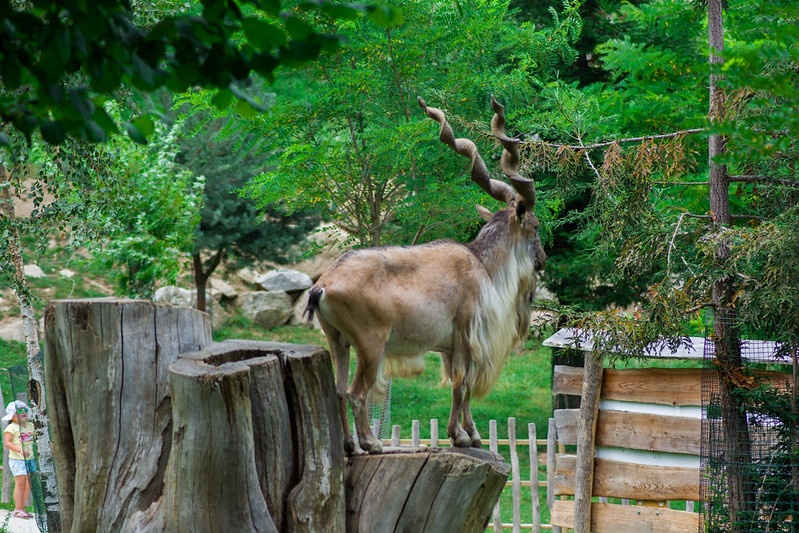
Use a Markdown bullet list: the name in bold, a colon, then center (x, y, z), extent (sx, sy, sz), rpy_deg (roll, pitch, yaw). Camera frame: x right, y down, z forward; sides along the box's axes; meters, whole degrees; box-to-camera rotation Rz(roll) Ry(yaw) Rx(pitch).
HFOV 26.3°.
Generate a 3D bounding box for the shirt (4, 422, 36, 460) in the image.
- **shirt**: center (-5.885, 2.742, 26.701), extent (0.581, 0.581, 0.348), rpy_deg (10, -18, -44)

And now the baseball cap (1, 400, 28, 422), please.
- **baseball cap**: center (-6.006, 2.261, 26.750), extent (0.439, 0.231, 0.433), rpy_deg (-21, -9, -16)

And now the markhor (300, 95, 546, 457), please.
- **markhor**: center (0.446, 0.380, 22.114), extent (2.890, 4.138, 0.485), rpy_deg (1, -2, -14)
